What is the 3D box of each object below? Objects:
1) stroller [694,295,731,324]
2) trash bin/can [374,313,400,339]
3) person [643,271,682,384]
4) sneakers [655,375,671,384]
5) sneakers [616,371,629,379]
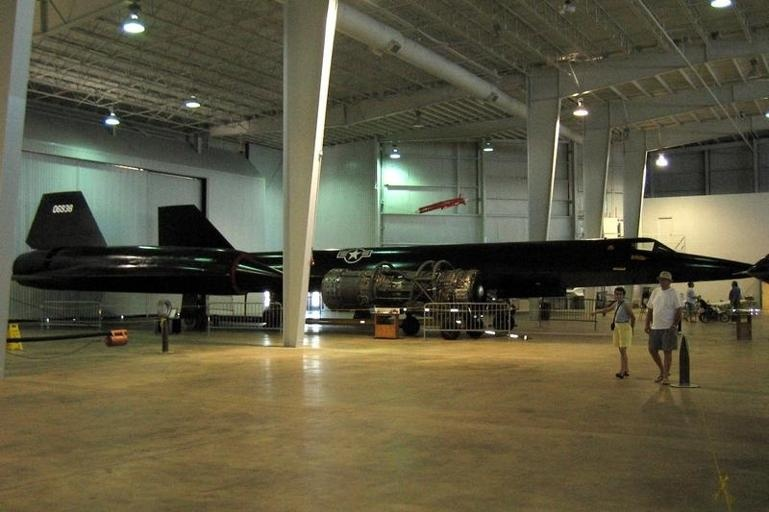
[{"bbox_3d":[15.720,2.614,27.747,2.013,1.280,1.346,-1,-1,0],"label":"stroller"},{"bbox_3d":[0.049,2.301,19.226,0.873,0.811,0.773,-1,-5,6],"label":"trash bin/can"},{"bbox_3d":[5.400,1.380,11.215,0.596,2.108,0.652,0,0,23],"label":"person"},{"bbox_3d":[5.366,2.380,11.165,0.142,0.132,0.375,-1,-8,37],"label":"sneakers"},{"bbox_3d":[4.770,2.401,11.651,0.115,0.131,0.324,-10,-17,37],"label":"sneakers"}]
